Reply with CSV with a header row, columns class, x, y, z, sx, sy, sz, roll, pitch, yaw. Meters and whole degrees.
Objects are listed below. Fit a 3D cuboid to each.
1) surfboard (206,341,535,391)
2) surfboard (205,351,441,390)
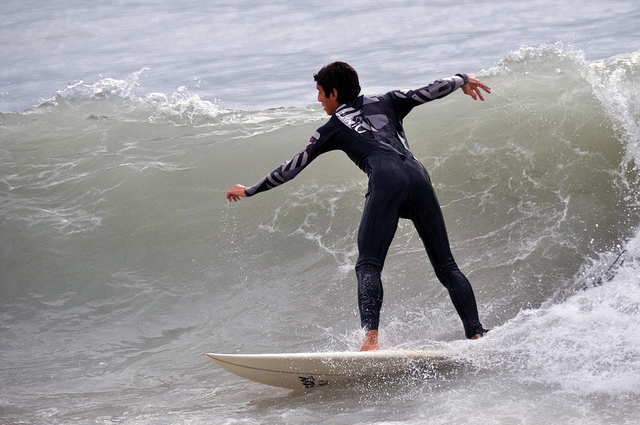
class,x,y,z,sx,sy,sz,roll,pitch,yaw
surfboard,0.635,1.675,8.130,3.498,0.454,0.347,-3,21,2
surfboard,0.127,1.700,8.104,2.819,0.393,0.266,-4,20,7
